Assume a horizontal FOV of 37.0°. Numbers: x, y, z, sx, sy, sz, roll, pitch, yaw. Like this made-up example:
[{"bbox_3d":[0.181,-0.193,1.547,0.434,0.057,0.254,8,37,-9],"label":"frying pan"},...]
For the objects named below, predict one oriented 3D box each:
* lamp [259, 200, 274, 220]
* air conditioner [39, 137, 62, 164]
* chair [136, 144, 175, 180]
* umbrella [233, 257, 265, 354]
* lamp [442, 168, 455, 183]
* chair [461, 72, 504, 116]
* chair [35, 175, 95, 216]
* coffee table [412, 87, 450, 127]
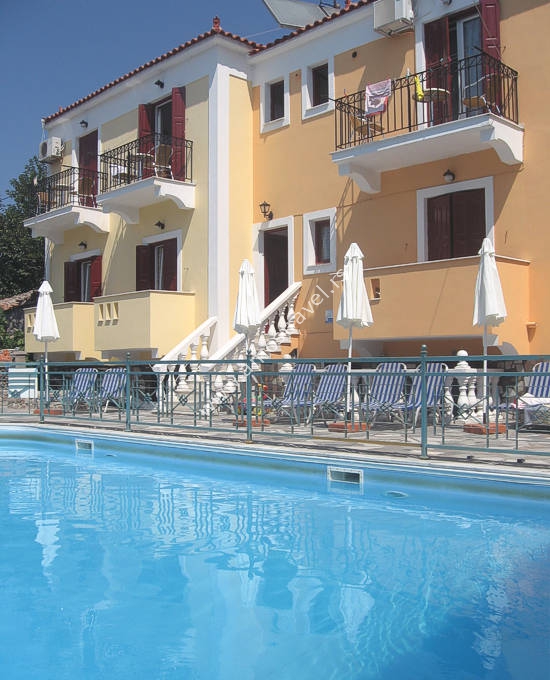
[{"bbox_3d":[-0.194,-2.642,17.118,0.130,0.270,0.359,-2,2,-36],"label":"lamp"},{"bbox_3d":[-6.217,-5.215,22.618,0.285,0.593,0.581,9,-17,-31],"label":"air conditioner"},{"bbox_3d":[-2.746,-3.895,18.159,0.661,0.602,1.454,-3,2,-40],"label":"chair"},{"bbox_3d":[-0.442,-0.577,12.479,0.397,0.943,1.017,-1,2,-2],"label":"umbrella"},{"bbox_3d":[2.899,-2.716,13.624,0.136,0.180,0.216,1,-21,1],"label":"lamp"},{"bbox_3d":[3.265,-3.840,12.858,0.588,0.744,1.335,-1,2,14],"label":"chair"},{"bbox_3d":[-5.394,-3.697,21.152,0.469,0.562,1.037,7,-11,-41],"label":"chair"},{"bbox_3d":[2.569,-3.782,13.488,0.570,0.562,1.295,-1,2,11],"label":"coffee table"}]
